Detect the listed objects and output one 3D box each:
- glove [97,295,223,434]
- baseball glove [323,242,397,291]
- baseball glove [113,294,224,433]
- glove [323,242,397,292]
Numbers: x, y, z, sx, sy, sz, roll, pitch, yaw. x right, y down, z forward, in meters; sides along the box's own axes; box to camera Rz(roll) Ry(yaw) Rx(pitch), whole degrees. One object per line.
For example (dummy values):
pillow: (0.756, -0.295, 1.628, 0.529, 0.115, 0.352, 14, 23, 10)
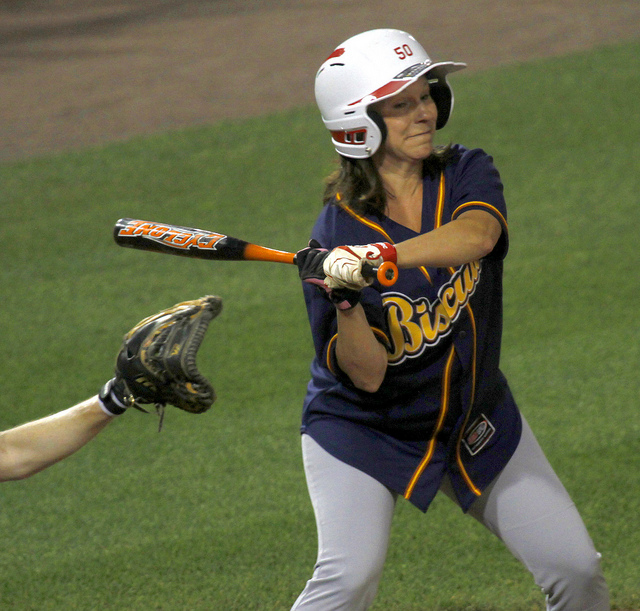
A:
glove: (-0.722, 0.254, 4.660, 0.853, 0.302, 0.513, -6, 68, 33)
baseball glove: (0.126, -0.171, 4.125, 0.258, 0.111, 0.325, -10, 27, 1)
baseball glove: (-0.626, 0.255, 4.676, 0.616, 0.455, 0.301, -21, 25, -10)
glove: (0.156, -0.143, 4.070, 0.239, 0.086, 0.224, 0, -5, -33)
